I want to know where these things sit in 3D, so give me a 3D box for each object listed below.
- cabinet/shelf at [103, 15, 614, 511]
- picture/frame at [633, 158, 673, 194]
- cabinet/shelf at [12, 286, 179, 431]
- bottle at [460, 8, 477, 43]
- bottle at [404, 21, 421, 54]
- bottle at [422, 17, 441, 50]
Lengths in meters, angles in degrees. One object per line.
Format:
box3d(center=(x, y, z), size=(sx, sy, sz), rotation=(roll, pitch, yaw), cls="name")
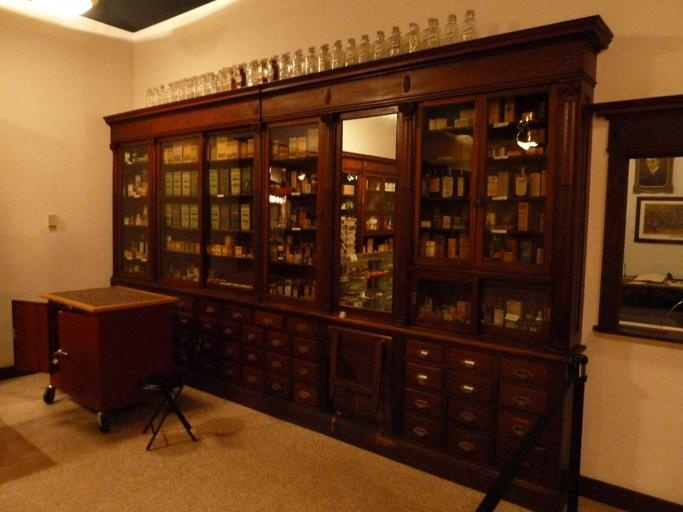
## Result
box3d(center=(0.224, 0.142, 4.826), size=(4.259, 2.632, 0.630), rotation=(4, 7, 35), cls="cabinet/shelf")
box3d(center=(2.418, -0.626, 4.288), size=(0.242, 0.339, 0.024), rotation=(2, -2, 22), cls="picture/frame")
box3d(center=(-2.456, 0.842, 5.675), size=(1.465, 1.352, 1.262), rotation=(5, 4, 41), cls="cabinet/shelf")
box3d(center=(1.035, -1.869, 4.482), size=(0.106, 0.241, 0.145), rotation=(1, 12, 1), cls="bottle")
box3d(center=(0.614, -1.852, 4.683), size=(0.122, 0.248, 0.225), rotation=(0, 13, 0), cls="bottle")
box3d(center=(0.749, -1.867, 4.633), size=(0.158, 0.253, 0.227), rotation=(2, 13, 9), cls="bottle")
